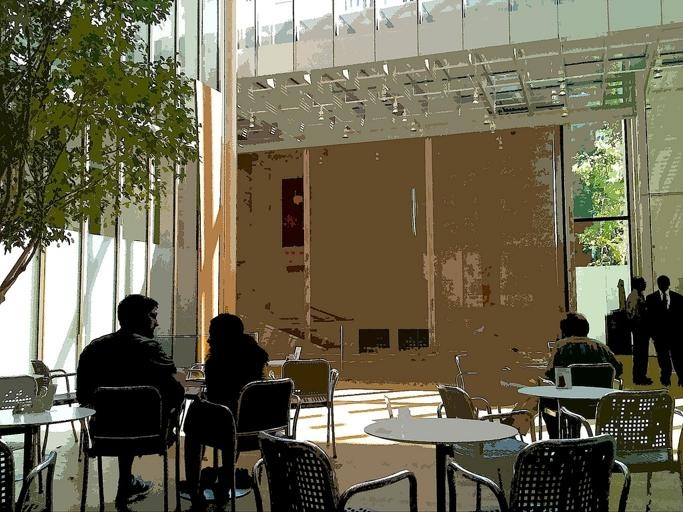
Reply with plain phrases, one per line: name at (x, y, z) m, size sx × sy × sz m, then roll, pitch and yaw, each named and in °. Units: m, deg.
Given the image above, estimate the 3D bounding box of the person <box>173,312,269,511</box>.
person at (-1.230, 1.026, 7.138) m, size 0.811 × 1.526 × 0.662 m, roll -1°, pitch -7°, yaw 31°

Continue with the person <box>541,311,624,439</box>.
person at (2.651, 1.313, 8.034) m, size 0.894 × 1.382 × 0.985 m, roll 0°, pitch -6°, yaw -7°

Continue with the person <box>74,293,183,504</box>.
person at (-2.011, 1.066, 6.815) m, size 0.995 × 1.415 × 0.548 m, roll 0°, pitch -6°, yaw -15°
